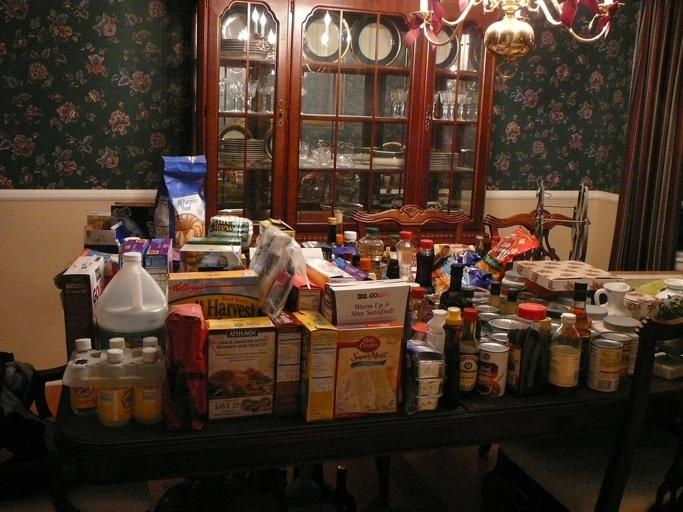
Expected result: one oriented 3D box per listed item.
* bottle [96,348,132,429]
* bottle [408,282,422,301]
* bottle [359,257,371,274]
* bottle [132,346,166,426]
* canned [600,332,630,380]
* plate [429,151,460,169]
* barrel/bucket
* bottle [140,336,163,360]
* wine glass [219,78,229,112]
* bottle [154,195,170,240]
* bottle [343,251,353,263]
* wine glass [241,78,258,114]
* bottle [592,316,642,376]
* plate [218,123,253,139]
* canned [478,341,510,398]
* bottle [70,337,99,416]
[{"bbox_3d":[-0.539,0.313,1.331,0.078,0.175,0.077,3,10,-1],"label":"bottle"},{"bbox_3d":[0.201,0.096,1.568,0.055,0.049,0.054,2,9,7],"label":"bottle"},{"bbox_3d":[0.078,0.032,1.783,0.043,0.039,0.042,-2,17,-12],"label":"bottle"},{"bbox_3d":[-0.457,0.309,1.321,0.071,0.182,0.029,-5,11,-21],"label":"bottle"},{"bbox_3d":[0.800,0.312,1.645,0.090,0.099,0.091,-4,5,28],"label":"canned"},{"bbox_3d":[0.609,-0.574,3.324,0.107,0.047,0.132,-11,18,-39],"label":"plate"},{"bbox_3d":[-0.553,0.147,1.465,0.178,0.295,0.184,6,15,-2],"label":"barrel/bucket"},{"bbox_3d":[-0.451,0.221,1.333,0.050,0.046,0.049,0,5,-2],"label":"bottle"},{"bbox_3d":[-0.631,-0.855,2.958,0.039,0.157,0.020,-8,12,-34],"label":"wine glass"},{"bbox_3d":[-0.674,-0.148,2.080,0.072,0.156,0.036,6,12,35],"label":"bottle"},{"bbox_3d":[0.024,0.003,2.059,0.034,0.031,0.034,5,9,16],"label":"bottle"},{"bbox_3d":[-0.477,-0.867,3.033,0.099,0.157,0.101,16,1,-12],"label":"wine glass"},{"bbox_3d":[0.778,0.287,1.632,0.114,0.124,0.117,10,19,43],"label":"bottle"},{"bbox_3d":[-0.579,-0.679,3.021,0.167,0.082,0.031,-7,11,-29],"label":"plate"},{"bbox_3d":[0.413,0.318,1.527,0.084,0.131,0.084,2,3,-25],"label":"canned"},{"bbox_3d":[-0.621,0.289,1.344,0.071,0.180,0.119,-5,11,-21],"label":"bottle"}]
